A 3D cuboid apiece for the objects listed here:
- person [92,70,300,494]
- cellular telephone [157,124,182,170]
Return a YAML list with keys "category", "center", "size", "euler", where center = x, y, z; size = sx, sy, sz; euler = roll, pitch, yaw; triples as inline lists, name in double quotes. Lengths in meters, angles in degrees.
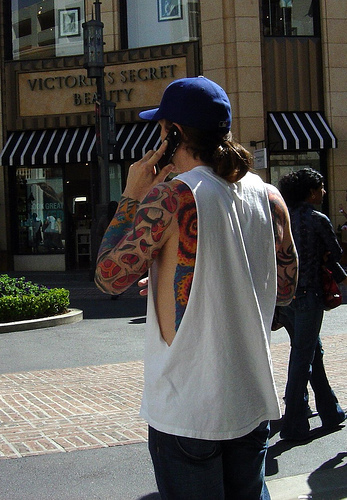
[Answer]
- category: "person"
  center: [0.043, 0.069, 1.449]
  size: [0.482, 1.013, 0.313]
  euler: [-1, 0, -8]
- category: "cellular telephone"
  center: [-0.009, -0.270, 1.518]
  size: [0.019, 0.033, 0.140]
  euler: [-27, -12, -30]
